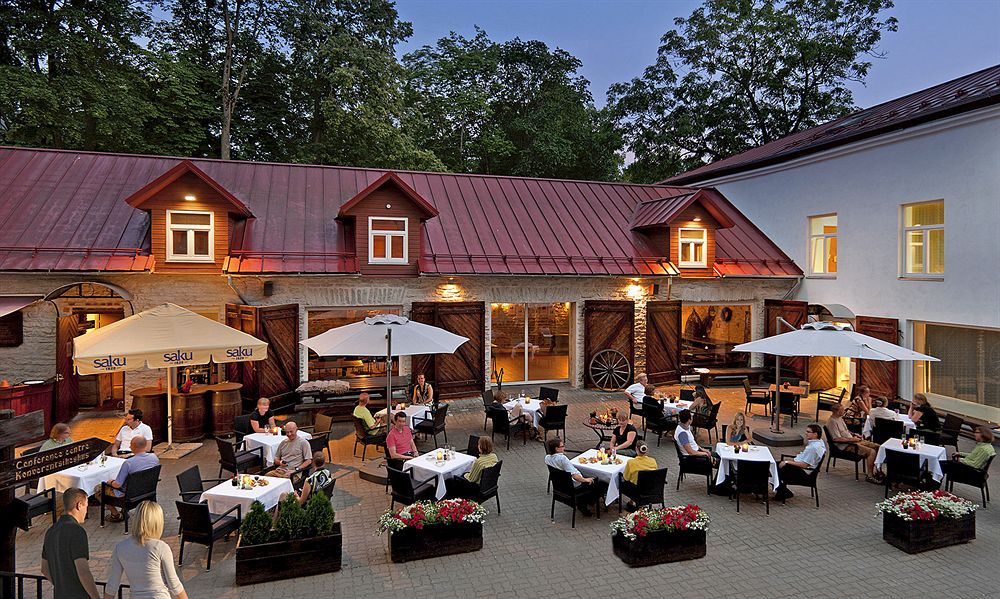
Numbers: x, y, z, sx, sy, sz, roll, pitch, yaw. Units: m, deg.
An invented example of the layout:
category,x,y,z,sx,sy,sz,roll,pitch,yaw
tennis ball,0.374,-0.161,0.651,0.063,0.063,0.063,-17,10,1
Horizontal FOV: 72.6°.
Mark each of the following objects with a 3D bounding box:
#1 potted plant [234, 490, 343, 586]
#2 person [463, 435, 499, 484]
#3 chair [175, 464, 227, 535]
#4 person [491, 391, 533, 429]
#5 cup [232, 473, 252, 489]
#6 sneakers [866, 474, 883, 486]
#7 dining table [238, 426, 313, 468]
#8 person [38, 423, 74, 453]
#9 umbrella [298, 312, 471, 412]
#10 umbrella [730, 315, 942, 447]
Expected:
category,x,y,z,sx,sy,sz,roll,pitch,yaw
potted plant,-6.419,7.170,20.945,2.745,1.893,2.767,0,-1,-10
person,-0.601,5.240,22.262,1.069,1.569,1.271,8,5,37
chair,-9.947,5.942,22.022,1.367,1.684,1.314,7,13,17
person,0.645,4.248,26.127,1.463,0.315,1.444,5,11,28
cup,-8.039,5.658,21.206,0.418,0.189,0.539,2,0,-4
sneakers,13.001,6.235,23.623,0.227,0.219,0.594,-4,9,-7
dining table,-8.218,5.008,23.599,1.444,0.556,1.640,3,4,44
person,-14.205,4.336,21.751,0.721,0.687,1.860,0,-5,-34
umbrella,-4.027,2.202,23.894,4.834,3.349,1.397,-2,-4,-5
umbrella,11.899,3.428,25.184,5.416,3.070,5.241,-1,2,-35
